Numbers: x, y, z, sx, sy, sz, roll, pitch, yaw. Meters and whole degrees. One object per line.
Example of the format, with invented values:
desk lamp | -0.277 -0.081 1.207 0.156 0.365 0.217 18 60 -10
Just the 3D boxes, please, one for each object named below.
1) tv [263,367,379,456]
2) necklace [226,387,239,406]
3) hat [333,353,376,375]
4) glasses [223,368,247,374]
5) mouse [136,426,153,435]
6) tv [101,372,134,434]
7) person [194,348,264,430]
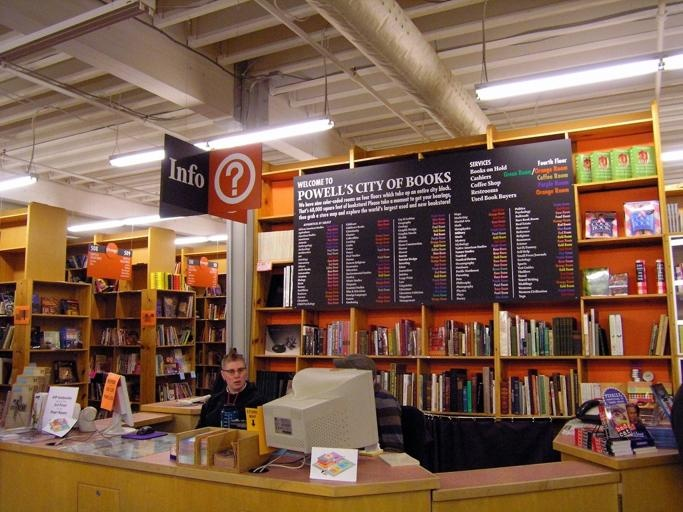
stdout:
tv | -0.146 0.962 3.536 0.630 0.434 0.602 1 -4 -41
necklace | -0.954 1.265 4.831 0.175 0.151 0.212 3 -15 -9
hat | 0.078 0.817 4.063 0.236 0.079 0.157 3 -9 23
glasses | -0.944 1.016 4.727 0.176 0.052 0.073 0 -8 -16
mouse | -1.637 1.455 4.465 0.065 0.031 0.091 2 -5 9
tv | -1.938 1.256 4.622 0.257 0.495 0.538 1 -8 -21
person | -0.982 1.304 4.720 0.689 0.829 0.503 3 -17 -6
